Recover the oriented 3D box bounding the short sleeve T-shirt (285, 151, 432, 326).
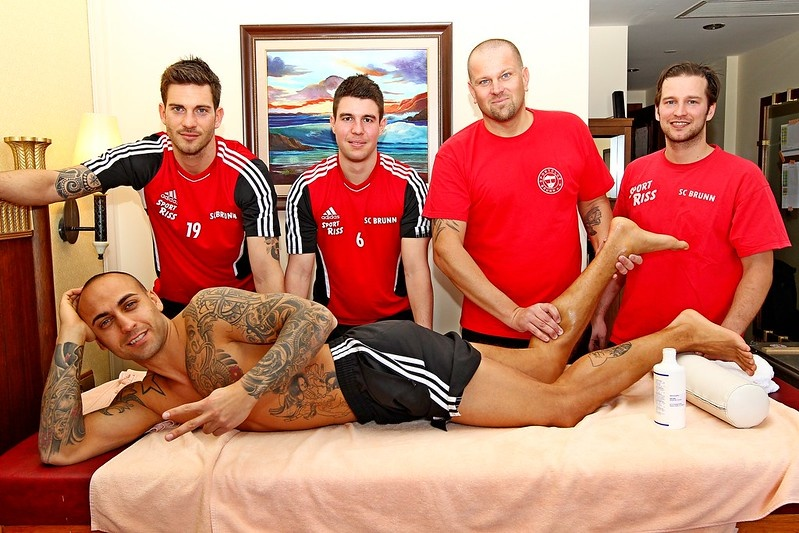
[{"bbox_3d":[-0.205,-0.115,2.864,0.796,0.897,0.459,-3,13,-2],"label":"short sleeve T-shirt"}]

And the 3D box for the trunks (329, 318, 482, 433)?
[{"bbox_3d":[0.027,0.440,2.287,0.506,0.253,0.418,-1,-20,-9],"label":"trunks"}]

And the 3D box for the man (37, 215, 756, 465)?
[{"bbox_3d":[-0.102,0.416,2.448,2.332,0.703,1.159,-5,-9,-2],"label":"man"}]

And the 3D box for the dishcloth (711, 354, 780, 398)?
[{"bbox_3d":[1.572,0.475,2.474,0.214,0.065,0.209,8,2,-36],"label":"dishcloth"}]
